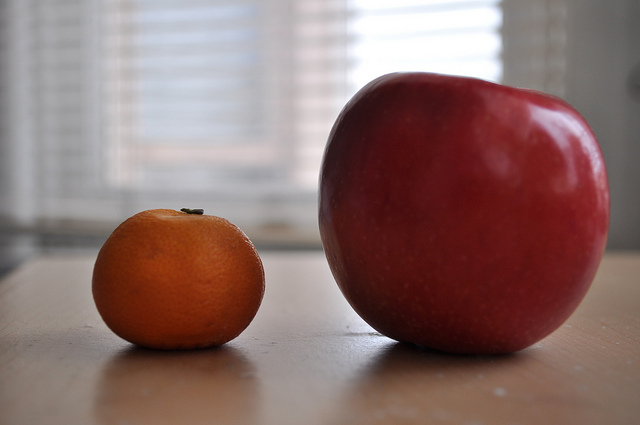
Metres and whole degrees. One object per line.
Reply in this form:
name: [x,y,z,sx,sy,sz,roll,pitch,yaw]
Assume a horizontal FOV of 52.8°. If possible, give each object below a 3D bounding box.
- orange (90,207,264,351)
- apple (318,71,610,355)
orange: [-0.199,0.062,0.968,0.199,0.186,0.244,-11,6,-15]
apple: [0.227,0.012,1.024,0.408,0.427,0.413,5,-4,-10]
